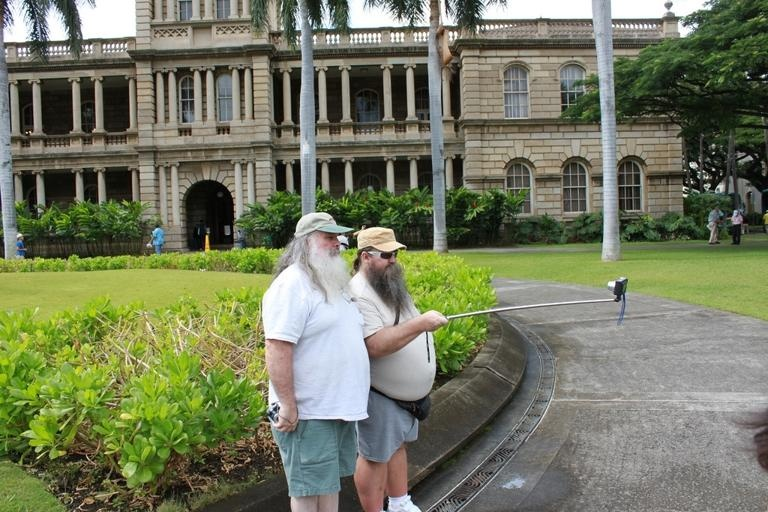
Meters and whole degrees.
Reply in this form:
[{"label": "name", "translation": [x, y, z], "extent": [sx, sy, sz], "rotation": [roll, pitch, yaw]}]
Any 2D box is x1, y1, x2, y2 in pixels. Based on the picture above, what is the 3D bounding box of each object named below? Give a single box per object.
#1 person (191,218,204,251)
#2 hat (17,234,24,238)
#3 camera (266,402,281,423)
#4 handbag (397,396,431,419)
[{"label": "person", "translation": [-9.443, -1.078, 37.372], "extent": [0.604, 1.438, 2.145], "rotation": [-3, 3, -15]}, {"label": "hat", "translation": [-14.691, -0.821, 29.426], "extent": [0.297, 0.106, 0.310], "rotation": [0, -3, 0]}, {"label": "camera", "translation": [-1.443, 2.080, 9.579], "extent": [0.094, 0.274, 0.230], "rotation": [-5, 4, -40]}, {"label": "handbag", "translation": [0.438, 2.112, 10.128], "extent": [0.393, 0.182, 0.299], "rotation": [18, 1, 2]}]
